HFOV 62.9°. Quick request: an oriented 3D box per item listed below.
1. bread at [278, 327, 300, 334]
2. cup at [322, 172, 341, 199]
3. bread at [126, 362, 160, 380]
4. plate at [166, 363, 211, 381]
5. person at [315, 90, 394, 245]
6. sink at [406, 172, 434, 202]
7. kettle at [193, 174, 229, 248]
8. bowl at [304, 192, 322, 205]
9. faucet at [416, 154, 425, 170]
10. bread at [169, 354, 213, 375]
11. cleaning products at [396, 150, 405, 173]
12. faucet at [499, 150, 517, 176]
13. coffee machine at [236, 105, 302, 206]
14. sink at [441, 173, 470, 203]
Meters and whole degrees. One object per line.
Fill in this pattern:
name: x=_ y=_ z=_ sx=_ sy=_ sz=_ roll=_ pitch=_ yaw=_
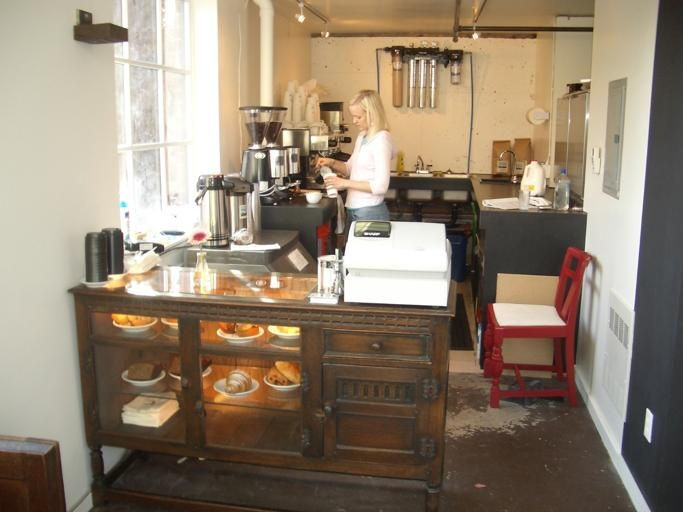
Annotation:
bread: x=-0.274 y=0.379 z=2.800 sx=0.121 sy=0.053 sz=0.013 roll=0 pitch=12 yaw=9
cup: x=-0.081 y=-0.557 z=4.359 sx=0.131 sy=0.206 sz=0.085 roll=-5 pitch=-5 yaw=0
bread: x=-1.059 y=0.616 z=2.969 sx=0.100 sy=0.056 sz=0.140 roll=5 pitch=5 yaw=10
plate: x=-0.838 y=0.609 z=2.909 sx=0.124 sy=0.035 sz=0.129 roll=0 pitch=7 yaw=-1
person: x=0.114 y=-0.717 z=4.396 sx=0.595 sy=1.156 sz=0.865 roll=-2 pitch=12 yaw=0
sink: x=0.996 y=-0.866 z=7.158 sx=0.398 sy=0.411 sz=0.287 roll=1 pitch=8 yaw=8
kettle: x=-0.857 y=-0.296 z=3.689 sx=0.201 sy=0.474 sz=0.094 roll=-5 pitch=12 yaw=-16
bowl: x=-0.244 y=-0.506 z=4.875 sx=0.115 sy=0.084 sz=0.121 roll=0 pitch=7 yaw=0
faucet: x=1.088 y=-1.273 z=7.590 sx=0.126 sy=0.194 sz=0.164 roll=0 pitch=12 yaw=8
bread: x=-0.789 y=0.568 z=2.915 sx=0.178 sy=0.117 sz=0.033 roll=3 pitch=13 yaw=16
cleaning products: x=0.807 y=-1.294 z=7.594 sx=0.130 sy=0.261 sz=0.262 roll=0 pitch=12 yaw=6
faucet: x=2.124 y=-1.204 z=7.113 sx=0.234 sy=0.328 sz=0.569 roll=2 pitch=13 yaw=17
coffee machine: x=-0.613 y=-0.846 z=4.535 sx=0.423 sy=0.811 sz=0.593 roll=7 pitch=12 yaw=12
sink: x=1.455 y=-0.867 z=7.118 sx=0.403 sy=0.428 sz=0.304 roll=0 pitch=7 yaw=4
